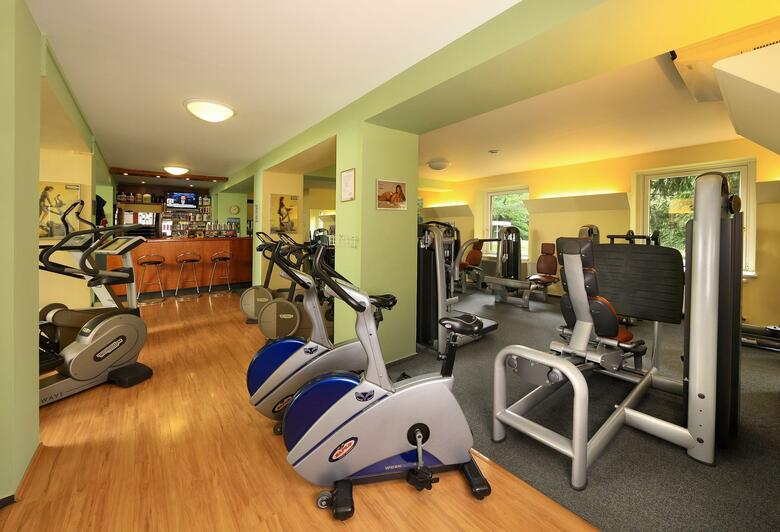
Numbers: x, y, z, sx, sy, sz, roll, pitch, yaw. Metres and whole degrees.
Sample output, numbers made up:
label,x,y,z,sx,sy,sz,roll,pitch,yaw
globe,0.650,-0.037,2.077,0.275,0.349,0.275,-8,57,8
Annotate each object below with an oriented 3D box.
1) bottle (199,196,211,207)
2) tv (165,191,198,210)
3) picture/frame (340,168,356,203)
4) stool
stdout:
label,x,y,z,sx,sy,sz,roll,pitch,yaw
bottle,-4.744,-1.650,12.175,0.309,0.305,0.242,-5,13,-27
tv,-5.231,-1.628,11.837,0.492,0.336,0.065,-2,5,-33
picture/frame,-0.462,-0.899,5.298,0.061,0.462,0.397,1,0,-28
stool,-3.751,0.142,8.801,1.635,0.776,0.611,-4,7,-33
